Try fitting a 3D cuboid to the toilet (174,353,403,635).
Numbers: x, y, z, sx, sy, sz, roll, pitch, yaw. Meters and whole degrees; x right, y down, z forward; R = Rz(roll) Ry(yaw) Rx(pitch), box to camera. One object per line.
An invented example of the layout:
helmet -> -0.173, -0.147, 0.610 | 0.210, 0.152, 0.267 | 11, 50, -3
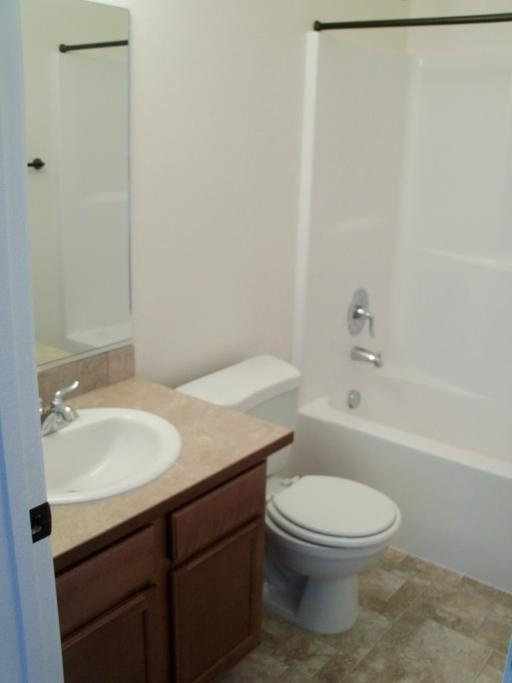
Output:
toilet -> 0.140, 0.490, 1.796 | 0.640, 0.682, 0.417 | 9, 18, 31
